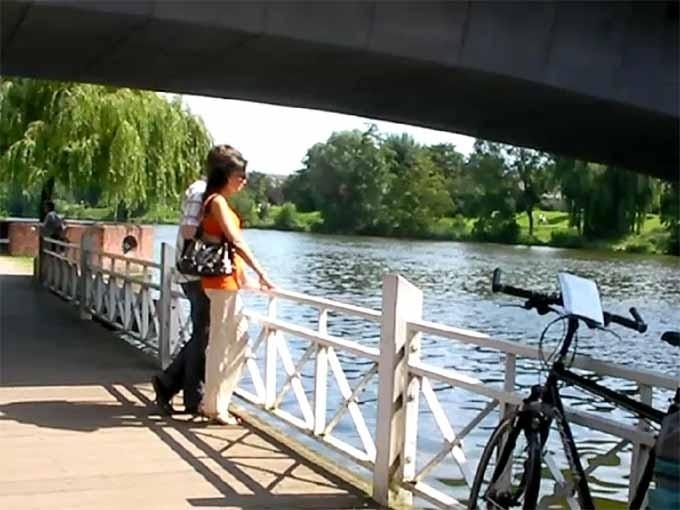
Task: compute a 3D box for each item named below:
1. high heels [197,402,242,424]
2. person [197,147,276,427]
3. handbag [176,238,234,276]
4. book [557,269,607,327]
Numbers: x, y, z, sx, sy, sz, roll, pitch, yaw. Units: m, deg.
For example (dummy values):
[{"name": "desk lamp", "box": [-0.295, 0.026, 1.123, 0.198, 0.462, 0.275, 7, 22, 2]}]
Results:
[{"name": "high heels", "box": [-0.906, 1.191, 4.464, 0.259, 0.117, 0.153, 1, 2, -2]}, {"name": "person", "box": [-0.791, 0.244, 4.337, 0.498, 2.076, 0.418, -1, 5, -12]}, {"name": "handbag", "box": [-0.958, 0.027, 4.304, 0.318, 0.328, 0.241, 2, -6, 14]}, {"name": "book", "box": [1.090, 0.190, 2.722, 0.213, 0.231, 0.053, 10, -30, -22]}]
